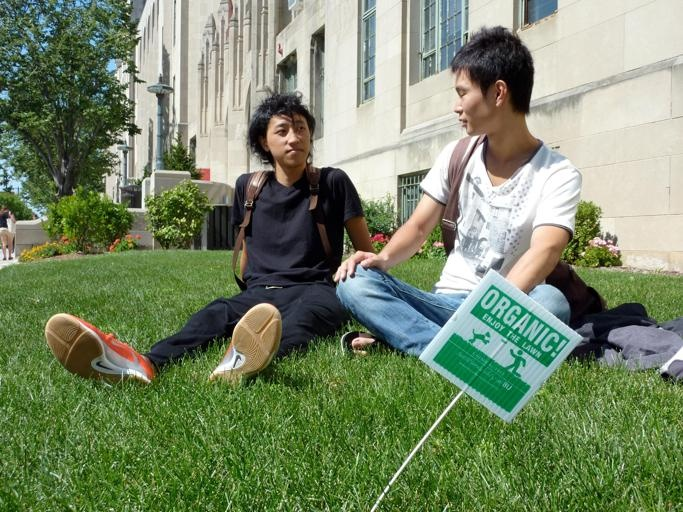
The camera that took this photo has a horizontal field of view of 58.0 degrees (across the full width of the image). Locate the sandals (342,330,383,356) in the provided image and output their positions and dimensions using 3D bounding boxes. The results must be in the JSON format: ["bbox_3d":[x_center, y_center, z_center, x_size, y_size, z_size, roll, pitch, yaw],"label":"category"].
[{"bbox_3d":[0.125,0.586,4.077,0.294,0.139,0.120,3,-6,3],"label":"sandals"}]

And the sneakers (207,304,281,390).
[{"bbox_3d":[-0.478,0.474,3.410,0.205,0.567,0.246,38,10,1],"label":"sneakers"}]

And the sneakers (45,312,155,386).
[{"bbox_3d":[-1.312,0.432,3.343,0.243,0.677,0.300,-26,46,7],"label":"sneakers"}]
